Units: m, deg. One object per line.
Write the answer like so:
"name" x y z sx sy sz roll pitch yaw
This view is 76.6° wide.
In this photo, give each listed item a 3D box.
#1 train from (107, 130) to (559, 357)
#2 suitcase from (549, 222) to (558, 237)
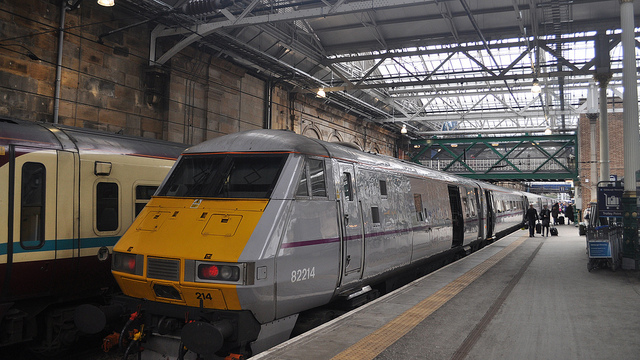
"train" 0.669 1.274 11.984 11.715 5.060 3.112 -1 3 -42
"suitcase" 14.679 3.261 25.519 0.377 0.537 0.219 -15 -13 26
